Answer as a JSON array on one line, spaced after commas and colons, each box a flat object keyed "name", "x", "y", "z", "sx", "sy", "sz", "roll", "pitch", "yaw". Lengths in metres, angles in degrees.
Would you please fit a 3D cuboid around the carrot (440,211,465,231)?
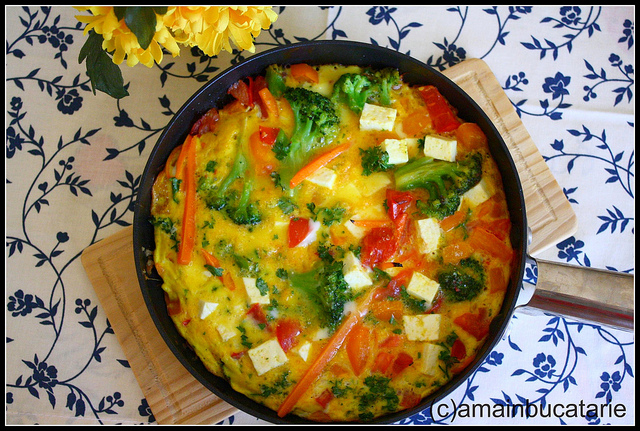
[{"name": "carrot", "x": 1.191, "y": 0.048, "z": 4.601, "sx": 0.108, "sy": 0.214, "sz": 0.051, "roll": 49, "pitch": -2, "yaw": -4}]

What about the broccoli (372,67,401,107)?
[{"name": "broccoli", "x": 0.617, "y": -1.180, "z": 4.746, "sx": 0.266, "sy": 0.337, "sz": 0.180, "roll": -1, "pitch": -4, "yaw": 1}]

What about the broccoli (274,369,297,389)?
[{"name": "broccoli", "x": -0.347, "y": 1.464, "z": 4.652, "sx": 0.163, "sy": 0.157, "sz": 0.055, "roll": -9, "pitch": 12, "yaw": -6}]

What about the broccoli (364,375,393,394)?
[{"name": "broccoli", "x": 0.508, "y": 1.510, "z": 4.556, "sx": 0.169, "sy": 0.127, "sz": 0.056, "roll": 20, "pitch": -1, "yaw": 4}]

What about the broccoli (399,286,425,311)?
[{"name": "broccoli", "x": 0.830, "y": 0.747, "z": 4.598, "sx": 0.218, "sy": 0.212, "sz": 0.060, "roll": 33, "pitch": -9, "yaw": -2}]

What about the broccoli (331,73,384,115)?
[{"name": "broccoli", "x": 0.336, "y": -1.115, "z": 4.622, "sx": 0.389, "sy": 0.383, "sz": 0.143, "roll": -31, "pitch": 9, "yaw": -4}]

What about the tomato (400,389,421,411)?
[{"name": "tomato", "x": 0.820, "y": 1.664, "z": 4.622, "sx": 0.172, "sy": 0.145, "sz": 0.124, "roll": 11, "pitch": -38, "yaw": -11}]

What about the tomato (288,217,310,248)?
[{"name": "tomato", "x": -0.207, "y": 0.150, "z": 4.588, "sx": 0.177, "sy": 0.224, "sz": 0.161, "roll": 4, "pitch": -38, "yaw": -1}]

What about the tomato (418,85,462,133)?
[{"name": "tomato", "x": 1.093, "y": -0.977, "z": 4.711, "sx": 0.210, "sy": 0.380, "sz": 0.391, "roll": -26, "pitch": -46, "yaw": 31}]

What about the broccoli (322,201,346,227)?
[{"name": "broccoli", "x": 0.122, "y": -0.011, "z": 4.571, "sx": 0.204, "sy": 0.197, "sz": 0.062, "roll": -27, "pitch": -15, "yaw": -7}]

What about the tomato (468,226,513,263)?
[{"name": "tomato", "x": 1.536, "y": 0.276, "z": 4.633, "sx": 0.410, "sy": 0.235, "sz": 0.155, "roll": 19, "pitch": -41, "yaw": -21}]

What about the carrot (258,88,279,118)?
[{"name": "carrot", "x": -0.467, "y": -1.028, "z": 4.704, "sx": 0.106, "sy": 0.348, "sz": 0.084, "roll": -29, "pitch": -6, "yaw": 17}]

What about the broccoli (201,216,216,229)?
[{"name": "broccoli", "x": -1.006, "y": 0.066, "z": 4.590, "sx": 0.114, "sy": 0.089, "sz": 0.083, "roll": 5, "pitch": -38, "yaw": -4}]

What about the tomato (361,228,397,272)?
[{"name": "tomato", "x": 0.515, "y": 0.290, "z": 4.569, "sx": 0.321, "sy": 0.300, "sz": 0.203, "roll": -20, "pitch": -43, "yaw": 26}]

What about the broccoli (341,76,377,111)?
[{"name": "broccoli", "x": 0.341, "y": -1.102, "z": 4.623, "sx": 0.313, "sy": 0.302, "sz": 0.081, "roll": -4, "pitch": 3, "yaw": -4}]

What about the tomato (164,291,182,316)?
[{"name": "tomato", "x": -1.367, "y": 0.809, "z": 4.720, "sx": 0.211, "sy": 0.194, "sz": 0.064, "roll": -9, "pitch": -2, "yaw": 37}]

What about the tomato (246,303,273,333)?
[{"name": "tomato", "x": -0.532, "y": 0.917, "z": 4.589, "sx": 0.249, "sy": 0.204, "sz": 0.103, "roll": 17, "pitch": -40, "yaw": -18}]

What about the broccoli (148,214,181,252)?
[{"name": "broccoli", "x": -1.382, "y": 0.128, "z": 4.651, "sx": 0.256, "sy": 0.077, "sz": 0.328, "roll": -22, "pitch": -74, "yaw": 26}]

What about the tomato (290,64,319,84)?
[{"name": "tomato", "x": -0.147, "y": -1.304, "z": 4.723, "sx": 0.263, "sy": 0.160, "sz": 0.103, "roll": 5, "pitch": -38, "yaw": -4}]

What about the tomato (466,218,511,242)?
[{"name": "tomato", "x": 1.590, "y": 0.106, "z": 4.650, "sx": 0.267, "sy": 0.255, "sz": 0.091, "roll": 10, "pitch": -57, "yaw": 20}]

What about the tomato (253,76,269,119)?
[{"name": "tomato", "x": -0.557, "y": -1.093, "z": 4.735, "sx": 0.179, "sy": 0.347, "sz": 0.080, "roll": -5, "pitch": -6, "yaw": 8}]

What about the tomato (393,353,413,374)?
[{"name": "tomato", "x": 0.727, "y": 1.325, "z": 4.599, "sx": 0.194, "sy": 0.124, "sz": 0.046, "roll": -34, "pitch": 1, "yaw": -1}]

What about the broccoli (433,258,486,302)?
[{"name": "broccoli", "x": 1.266, "y": 0.587, "z": 4.617, "sx": 0.455, "sy": 0.317, "sz": 0.239, "roll": -6, "pitch": -38, "yaw": 11}]

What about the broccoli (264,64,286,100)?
[{"name": "broccoli", "x": -0.417, "y": -1.223, "z": 4.724, "sx": 0.153, "sy": 0.303, "sz": 0.245, "roll": -6, "pitch": 12, "yaw": -41}]

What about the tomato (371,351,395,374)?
[{"name": "tomato", "x": 0.556, "y": 1.318, "z": 4.607, "sx": 0.129, "sy": 0.144, "sz": 0.176, "roll": 24, "pitch": -42, "yaw": -25}]

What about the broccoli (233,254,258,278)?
[{"name": "broccoli", "x": -0.660, "y": 0.436, "z": 4.595, "sx": 0.210, "sy": 0.070, "sz": 0.195, "roll": 8, "pitch": -75, "yaw": 8}]

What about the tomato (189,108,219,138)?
[{"name": "tomato", "x": -1.074, "y": -0.852, "z": 4.746, "sx": 0.168, "sy": 0.305, "sz": 0.074, "roll": 41, "pitch": -2, "yaw": -2}]
